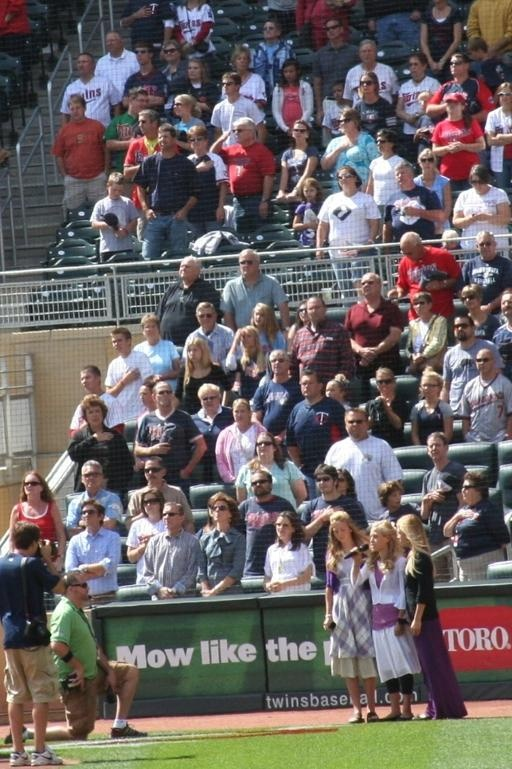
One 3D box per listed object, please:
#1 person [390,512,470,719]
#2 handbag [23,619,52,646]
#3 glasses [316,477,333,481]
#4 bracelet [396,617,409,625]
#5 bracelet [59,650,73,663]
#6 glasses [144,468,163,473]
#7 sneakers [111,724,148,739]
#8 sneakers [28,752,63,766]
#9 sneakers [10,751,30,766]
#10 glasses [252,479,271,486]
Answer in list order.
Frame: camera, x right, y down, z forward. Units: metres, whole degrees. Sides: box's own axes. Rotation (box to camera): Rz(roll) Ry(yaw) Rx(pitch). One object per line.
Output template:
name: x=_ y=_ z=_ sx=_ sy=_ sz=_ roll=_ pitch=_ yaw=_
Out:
person: x=1.122 y=1.530 z=15.066 sx=0.340 sy=1.346 sz=0.230 roll=-5 pitch=3 yaw=7
handbag: x=-1.394 y=1.586 z=14.624 sx=0.161 sy=0.130 sz=0.166 roll=4 pitch=-19 yaw=20
glasses: x=0.463 y=0.663 z=16.211 sx=0.095 sy=0.041 sz=0.042 roll=-6 pitch=3 yaw=2
bracelet: x=0.948 y=1.563 z=15.143 sx=0.050 sy=0.041 sz=0.051 roll=10 pitch=5 yaw=24
bracelet: x=-1.240 y=1.758 z=14.808 sx=0.071 sy=0.057 sz=0.073 roll=-13 pitch=5 yaw=2
glasses: x=-0.769 y=0.637 z=17.002 sx=0.128 sy=0.045 sz=0.077 roll=-6 pitch=3 yaw=-1
sneakers: x=-0.866 y=2.327 z=15.348 sx=0.259 sy=0.117 sz=0.089 roll=3 pitch=1 yaw=-16
sneakers: x=-1.325 y=2.348 z=14.352 sx=0.226 sy=0.113 sz=0.080 roll=2 pitch=-8 yaw=-14
sneakers: x=-1.488 y=2.358 z=14.400 sx=0.058 sy=0.074 sz=0.156 roll=-1 pitch=-3 yaw=7
glasses: x=0.015 y=0.698 z=16.461 sx=0.137 sy=0.051 sz=0.080 roll=-6 pitch=3 yaw=5
